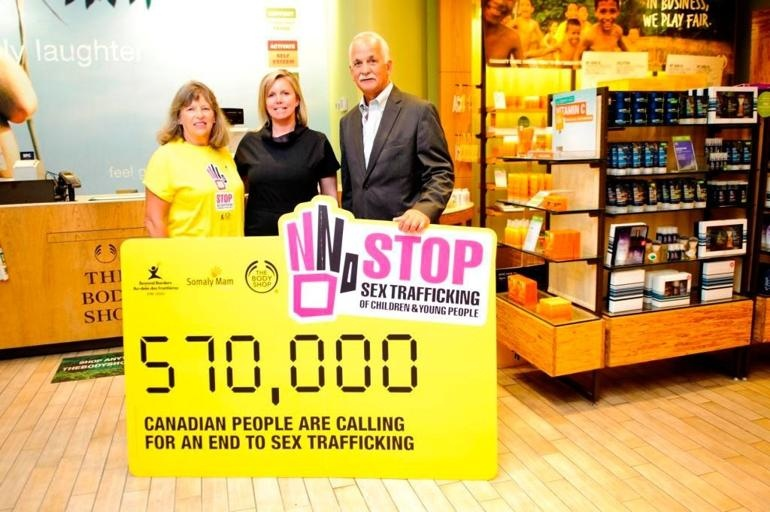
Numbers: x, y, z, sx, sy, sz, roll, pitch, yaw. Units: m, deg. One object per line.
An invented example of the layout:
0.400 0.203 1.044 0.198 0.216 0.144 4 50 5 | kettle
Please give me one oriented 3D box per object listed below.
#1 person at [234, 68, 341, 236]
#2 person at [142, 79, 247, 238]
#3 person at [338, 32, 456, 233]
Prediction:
-0.637 -0.758 3.964 0.701 1.120 0.439 -8 17 -13 | person
-1.267 -0.700 4.030 0.771 1.133 0.585 0 23 -16 | person
0.104 -0.894 3.764 0.875 1.209 0.518 12 22 41 | person
